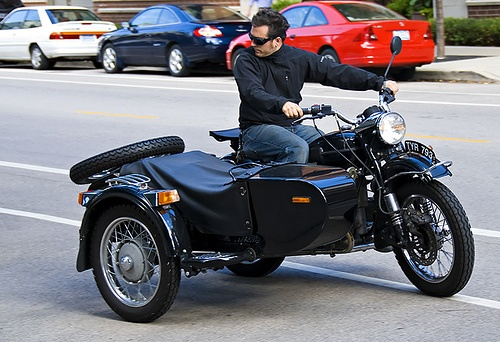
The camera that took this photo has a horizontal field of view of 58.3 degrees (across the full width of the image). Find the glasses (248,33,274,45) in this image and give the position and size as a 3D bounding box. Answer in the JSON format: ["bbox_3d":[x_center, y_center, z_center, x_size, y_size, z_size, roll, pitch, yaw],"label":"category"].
[{"bbox_3d":[0.076,-1.158,3.952,0.168,0.042,0.136,-3,9,-36],"label":"glasses"}]

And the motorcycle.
[{"bbox_3d":[0.017,0.049,3.796,3.369,1.497,2.040,0,5,21],"label":"motorcycle"}]
